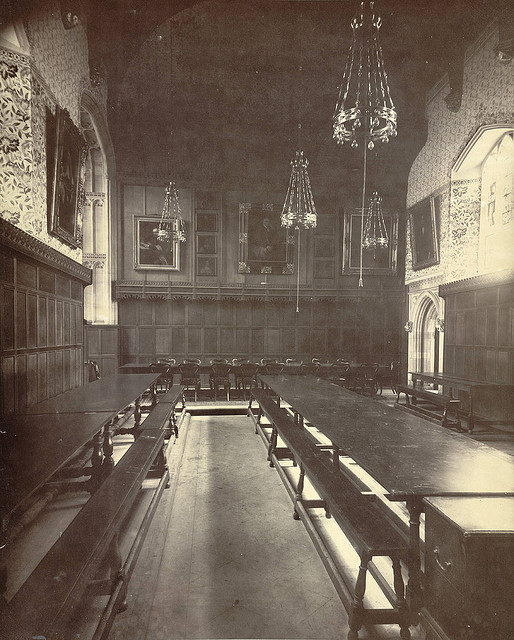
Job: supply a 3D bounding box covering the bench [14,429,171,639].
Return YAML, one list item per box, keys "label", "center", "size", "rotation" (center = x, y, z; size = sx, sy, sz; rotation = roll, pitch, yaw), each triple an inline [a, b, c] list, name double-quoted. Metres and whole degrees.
- label: "bench"
  center: [-1.114, 1.562, 3.829]
  size: [0.506, 0.723, 2.340]
  rotation: [1, 6, -3]

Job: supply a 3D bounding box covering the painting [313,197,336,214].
- label: "painting"
  center: [1.736, -2.907, 13.566]
  size: [0.358, 0.537, 0.108]
  rotation: [-4, 5, -6]

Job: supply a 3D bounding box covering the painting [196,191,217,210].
- label: "painting"
  center: [-1.283, -2.934, 13.053]
  size: [0.297, 0.448, 0.052]
  rotation: [0, 1, -12]

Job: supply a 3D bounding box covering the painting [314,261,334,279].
- label: "painting"
  center: [1.697, -1.267, 13.446]
  size: [0.339, 0.507, 0.103]
  rotation: [-2, -1, -7]

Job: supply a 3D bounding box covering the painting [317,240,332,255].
- label: "painting"
  center: [1.701, -1.823, 13.627]
  size: [0.268, 0.406, 0.081]
  rotation: [-1, -3, -5]

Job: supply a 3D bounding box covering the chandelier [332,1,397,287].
- label: "chandelier"
  center: [1.268, -2.693, 6.385]
  size: [0.755, 1.592, 3.350]
  rotation: [2, 5, 10]

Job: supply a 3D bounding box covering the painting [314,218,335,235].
- label: "painting"
  center: [1.718, -2.354, 13.547]
  size: [0.483, 0.731, 0.141]
  rotation: [-1, 1, -7]
